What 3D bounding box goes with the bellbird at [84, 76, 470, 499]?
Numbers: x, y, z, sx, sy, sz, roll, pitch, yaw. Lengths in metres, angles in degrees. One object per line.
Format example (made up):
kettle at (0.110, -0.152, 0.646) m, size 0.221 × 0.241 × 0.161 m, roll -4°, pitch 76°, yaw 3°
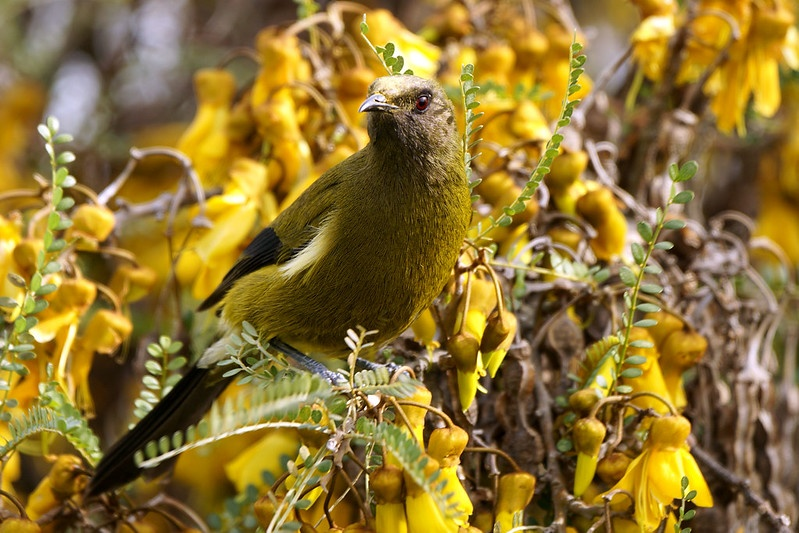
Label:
bellbird at (-0.477, -0.003, 3.672) m, size 1.853 × 1.049 × 0.640 m, roll -16°, pitch -13°, yaw 38°
